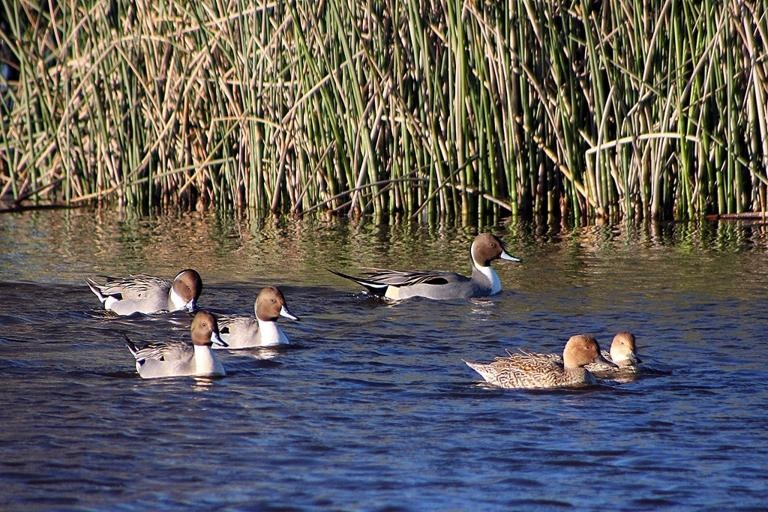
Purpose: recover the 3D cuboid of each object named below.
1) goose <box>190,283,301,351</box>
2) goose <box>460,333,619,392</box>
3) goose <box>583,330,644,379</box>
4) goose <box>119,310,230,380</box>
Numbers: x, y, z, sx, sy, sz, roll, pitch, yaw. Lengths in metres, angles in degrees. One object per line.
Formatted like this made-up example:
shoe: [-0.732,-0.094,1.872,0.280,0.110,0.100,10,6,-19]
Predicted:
goose: [-1.470,0.646,10.726,1.200,0.772,0.677,7,8,38]
goose: [1.480,0.991,9.535,1.360,0.740,0.607,3,-6,35]
goose: [2.219,0.882,9.863,0.443,0.439,0.723,2,-7,-31]
goose: [-2.036,0.792,9.713,1.128,0.716,0.630,6,7,23]
